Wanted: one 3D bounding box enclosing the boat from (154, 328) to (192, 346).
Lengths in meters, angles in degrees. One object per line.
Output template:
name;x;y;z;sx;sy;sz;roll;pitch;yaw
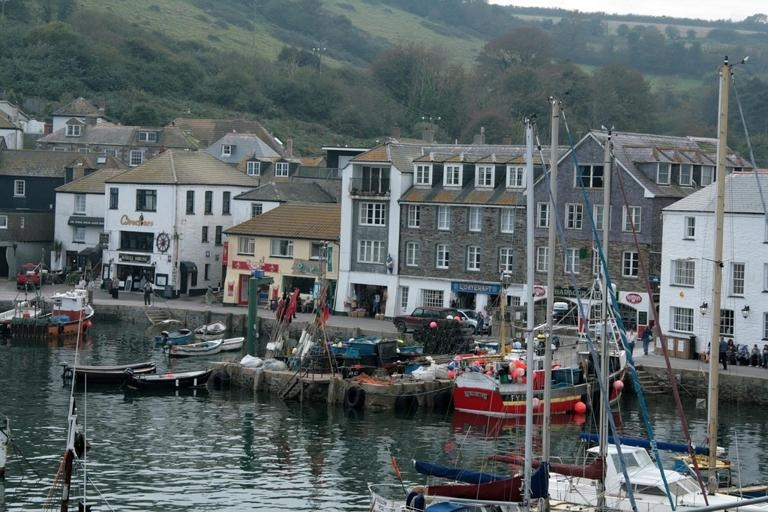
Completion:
boat;-22.601;8.793;193.022;1.842;1.243;3.408;2;3;36
